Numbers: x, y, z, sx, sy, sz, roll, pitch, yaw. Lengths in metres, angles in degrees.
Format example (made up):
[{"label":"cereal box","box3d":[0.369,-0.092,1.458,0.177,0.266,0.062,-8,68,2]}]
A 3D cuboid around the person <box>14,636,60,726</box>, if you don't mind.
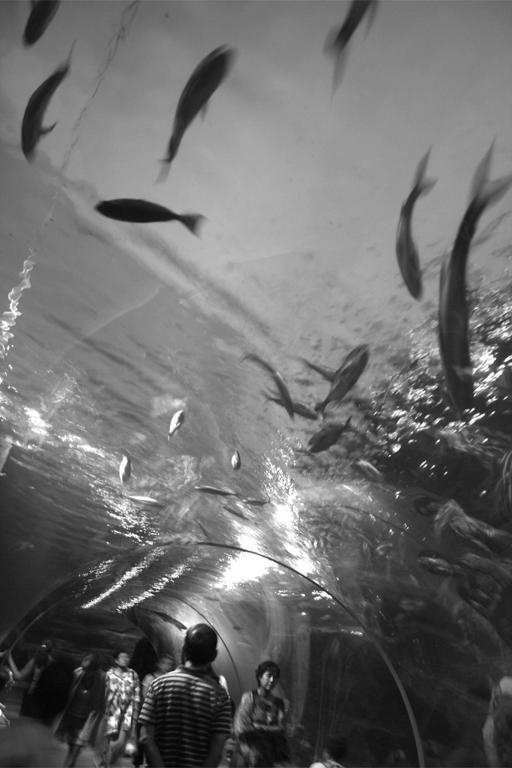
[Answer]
[{"label":"person","box3d":[-5.229,6.921,13.497,1.116,1.912,0.765,12,2,-25]}]
